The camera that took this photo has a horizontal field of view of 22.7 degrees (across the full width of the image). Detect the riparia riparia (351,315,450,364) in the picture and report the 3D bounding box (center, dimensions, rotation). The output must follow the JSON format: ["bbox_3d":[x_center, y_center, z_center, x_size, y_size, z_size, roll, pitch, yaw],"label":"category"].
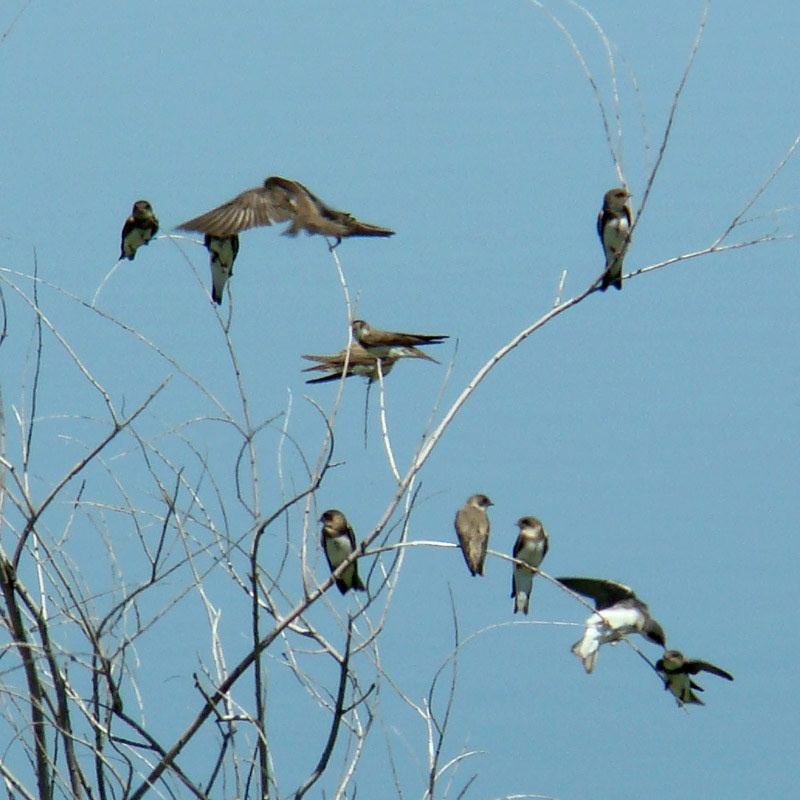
[{"bbox_3d":[-0.040,-0.228,8.255,0.350,0.189,0.148,3,-52,22],"label":"riparia riparia"}]

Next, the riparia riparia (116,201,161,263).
[{"bbox_3d":[-1.227,-0.825,9.360,0.132,0.265,0.316,-5,-2,-27],"label":"riparia riparia"}]
